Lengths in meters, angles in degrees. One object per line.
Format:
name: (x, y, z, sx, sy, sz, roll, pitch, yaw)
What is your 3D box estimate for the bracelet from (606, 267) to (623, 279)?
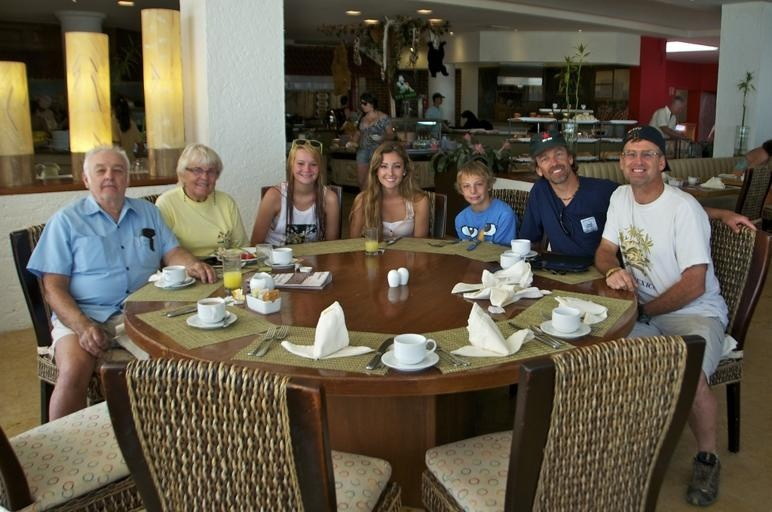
bracelet: (1.030, 0.078, 2.523, 0.064, 0.038, 0.118, 4, 15, 19)

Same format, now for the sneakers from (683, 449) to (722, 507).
sneakers: (1.390, 0.986, 2.457, 0.108, 0.119, 0.272, 1, 35, 34)
